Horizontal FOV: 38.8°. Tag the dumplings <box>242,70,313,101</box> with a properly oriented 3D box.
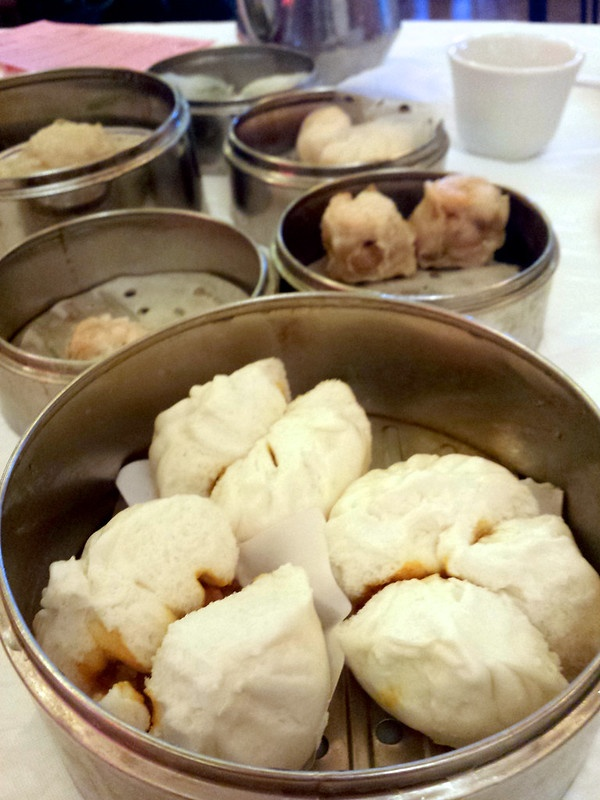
[{"bbox_3d":[-0.038,-0.547,1.482,0.147,0.029,0.083,-17,43,-15],"label":"dumplings"}]

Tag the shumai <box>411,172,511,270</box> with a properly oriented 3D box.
[{"bbox_3d":[0.193,-0.226,1.073,0.115,0.106,0.132,-12,25,-31],"label":"shumai"}]

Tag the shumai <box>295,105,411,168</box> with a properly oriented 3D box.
[{"bbox_3d":[0.082,-0.371,1.209,0.149,0.082,0.145,-17,26,-31],"label":"shumai"}]
